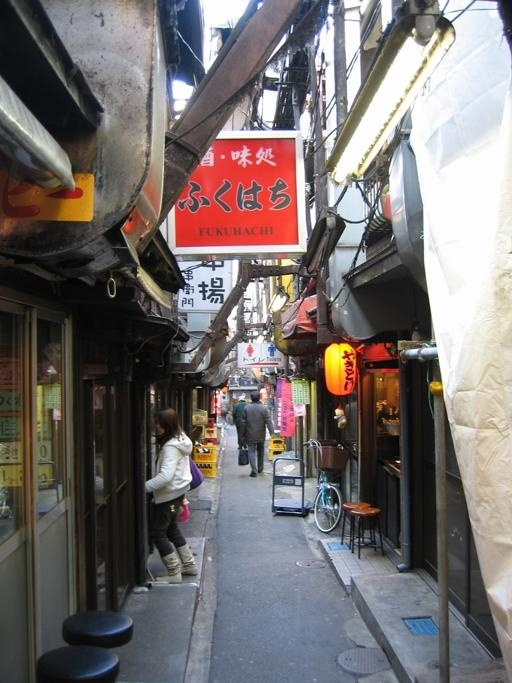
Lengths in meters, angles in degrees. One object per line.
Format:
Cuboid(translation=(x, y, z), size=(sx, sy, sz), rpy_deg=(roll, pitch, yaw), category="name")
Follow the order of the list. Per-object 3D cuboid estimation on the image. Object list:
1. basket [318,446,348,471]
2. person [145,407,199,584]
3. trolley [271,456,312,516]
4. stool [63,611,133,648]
Cuboid(translation=(1.216, 1.863, 9.743), size=(0.448, 0.339, 0.362), rpy_deg=(-10, -15, 41), category="basket")
Cuboid(translation=(-0.932, 1.695, 6.713), size=(0.535, 1.894, 0.788), rpy_deg=(0, -7, -6), category="person")
Cuboid(translation=(0.736, 2.714, 11.818), size=(0.707, 1.130, 1.249), rpy_deg=(1, -1, 11), category="trolley")
Cuboid(translation=(-0.812, 1.499, 3.115), size=(0.337, 0.116, 0.501), rpy_deg=(2, -8, -21), category="stool")
